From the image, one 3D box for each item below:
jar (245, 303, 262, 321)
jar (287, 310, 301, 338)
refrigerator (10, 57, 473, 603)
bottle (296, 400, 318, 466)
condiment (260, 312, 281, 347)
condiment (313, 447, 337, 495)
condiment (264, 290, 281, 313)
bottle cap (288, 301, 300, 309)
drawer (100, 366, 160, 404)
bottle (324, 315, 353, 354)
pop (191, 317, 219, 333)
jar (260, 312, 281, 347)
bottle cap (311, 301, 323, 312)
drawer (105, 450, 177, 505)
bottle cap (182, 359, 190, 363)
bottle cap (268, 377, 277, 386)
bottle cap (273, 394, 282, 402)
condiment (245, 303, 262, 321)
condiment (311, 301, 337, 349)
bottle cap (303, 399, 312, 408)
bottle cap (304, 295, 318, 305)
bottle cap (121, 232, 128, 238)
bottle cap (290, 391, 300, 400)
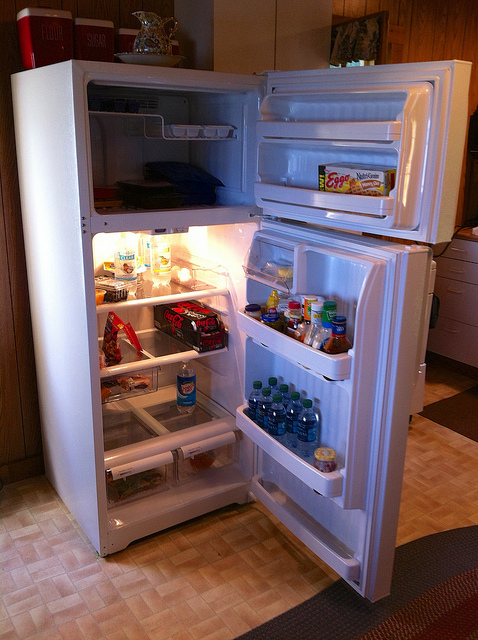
[{"bbox_3d":[0.050,-0.032,1.648,0.048,0.053,0.049,-3,22,1],"label":"jar"},{"bbox_3d":[0.164,0.012,1.466,0.032,0.113,0.029,5,27,-2],"label":"jar"},{"bbox_3d":[-0.124,0.040,1.610,0.699,1.646,1.495,-10,17,-35],"label":"refrigerator"},{"bbox_3d":[0.207,0.320,1.510,0.065,0.168,0.187,2,14,7],"label":"bottle"},{"bbox_3d":[0.100,0.006,1.555,0.062,0.055,0.057,2,14,5],"label":"condiment"},{"bbox_3d":[0.247,0.390,1.428,0.065,0.063,0.160,3,15,11],"label":"condiment"},{"bbox_3d":[0.113,-0.061,1.652,0.036,0.105,0.038,1,26,-12],"label":"condiment"},{"bbox_3d":[0.163,-0.044,1.479,0.031,0.019,0.036,-4,15,-16],"label":"bottle cap"},{"bbox_3d":[-0.431,0.279,1.918,0.177,0.061,0.143,-15,29,-32],"label":"drawer"},{"bbox_3d":[0.254,0.041,1.294,0.046,0.123,0.048,-2,24,1],"label":"bottle"},{"bbox_3d":[-0.128,0.020,1.944,0.083,0.041,0.061,-9,18,-33],"label":"pop"},{"bbox_3d":[0.093,0.011,1.547,0.045,0.062,0.063,-4,14,-12],"label":"jar"},{"bbox_3d":[0.211,-0.037,1.348,0.023,0.016,0.024,-13,25,-30],"label":"bottle cap"},{"bbox_3d":[-0.355,0.604,1.886,0.268,0.164,0.188,-9,13,-36],"label":"drawer"},{"bbox_3d":[-0.226,0.174,2.128,0.027,0.008,0.027,-4,8,-28],"label":"bottle cap"},{"bbox_3d":[0.118,0.210,1.717,0.024,0.018,0.025,0,15,1],"label":"bottle cap"},{"bbox_3d":[0.124,0.253,1.604,0.032,0.026,0.021,-4,15,-15],"label":"bottle cap"},{"bbox_3d":[0.046,-0.032,1.652,0.048,0.054,0.050,-10,24,-15],"label":"condiment"},{"bbox_3d":[0.226,0.042,1.368,0.045,0.180,0.069,15,21,32],"label":"condiment"},{"bbox_3d":[0.204,0.249,1.487,0.021,0.014,0.022,-1,16,-4],"label":"bottle cap"},{"bbox_3d":[0.201,-0.058,1.414,0.026,0.017,0.027,0,14,-1],"label":"bottle cap"},{"bbox_3d":[-0.429,-0.319,1.873,0.024,0.024,0.006,-1,-15,20],"label":"bottle cap"},{"bbox_3d":[0.177,0.238,1.581,0.022,0.013,0.023,0,16,1],"label":"bottle cap"}]
